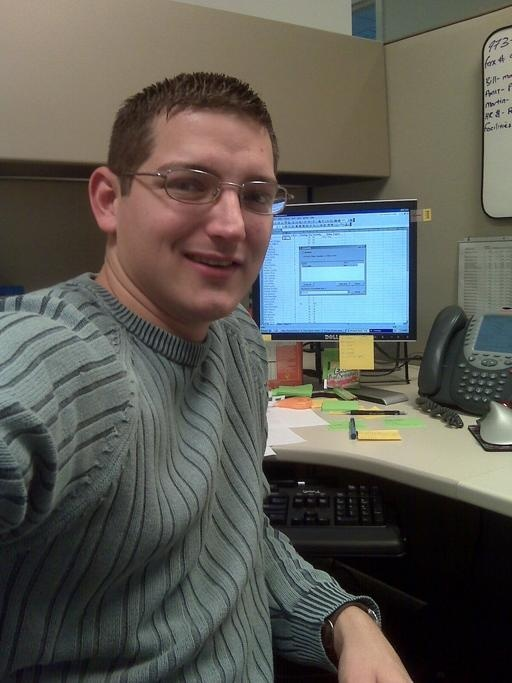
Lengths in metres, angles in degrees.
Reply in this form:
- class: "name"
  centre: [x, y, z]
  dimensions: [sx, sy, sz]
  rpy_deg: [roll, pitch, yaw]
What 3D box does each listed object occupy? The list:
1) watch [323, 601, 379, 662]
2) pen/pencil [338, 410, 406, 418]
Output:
- class: "watch"
  centre: [0.105, 0.318, 0.647]
  dimensions: [0.054, 0.068, 0.026]
  rpy_deg: [0, -13, 7]
- class: "pen/pencil"
  centre: [0.251, 0.152, 1.202]
  dimensions: [0.147, 0.013, 0.014]
  rpy_deg: [0, 4, 3]
